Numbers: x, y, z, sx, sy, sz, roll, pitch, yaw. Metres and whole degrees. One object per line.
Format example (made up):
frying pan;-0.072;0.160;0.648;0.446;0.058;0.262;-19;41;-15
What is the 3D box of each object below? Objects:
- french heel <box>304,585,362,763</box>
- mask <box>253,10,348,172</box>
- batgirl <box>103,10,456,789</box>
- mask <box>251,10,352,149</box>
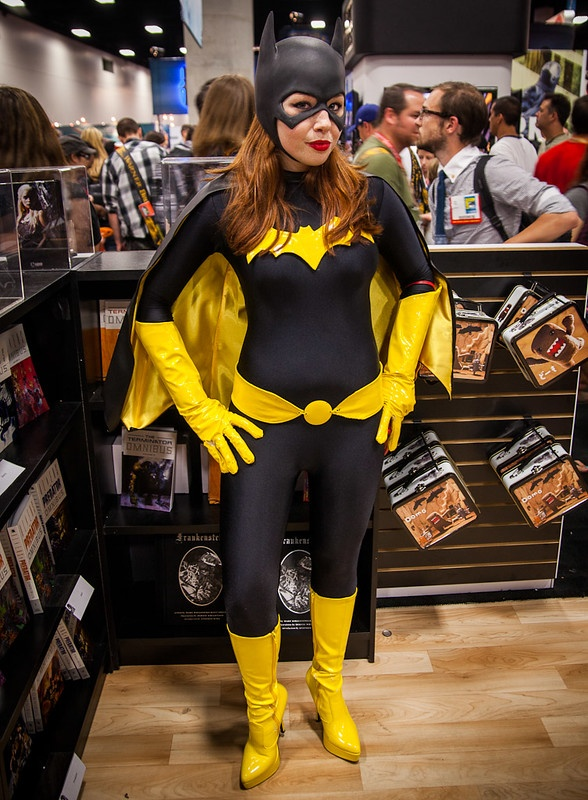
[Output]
french heel;0.088;0.675;1.410;0.112;0.347;0.307;-3;18;-9
mask;0.010;-0.540;1.049;0.144;0.251;0.123;-9;23;-21
batgirl;0.008;0.081;1.273;0.730;1.525;0.344;-5;17;-10
mask;0.018;-0.565;1.029;0.155;0.219;0.131;-16;32;-27
